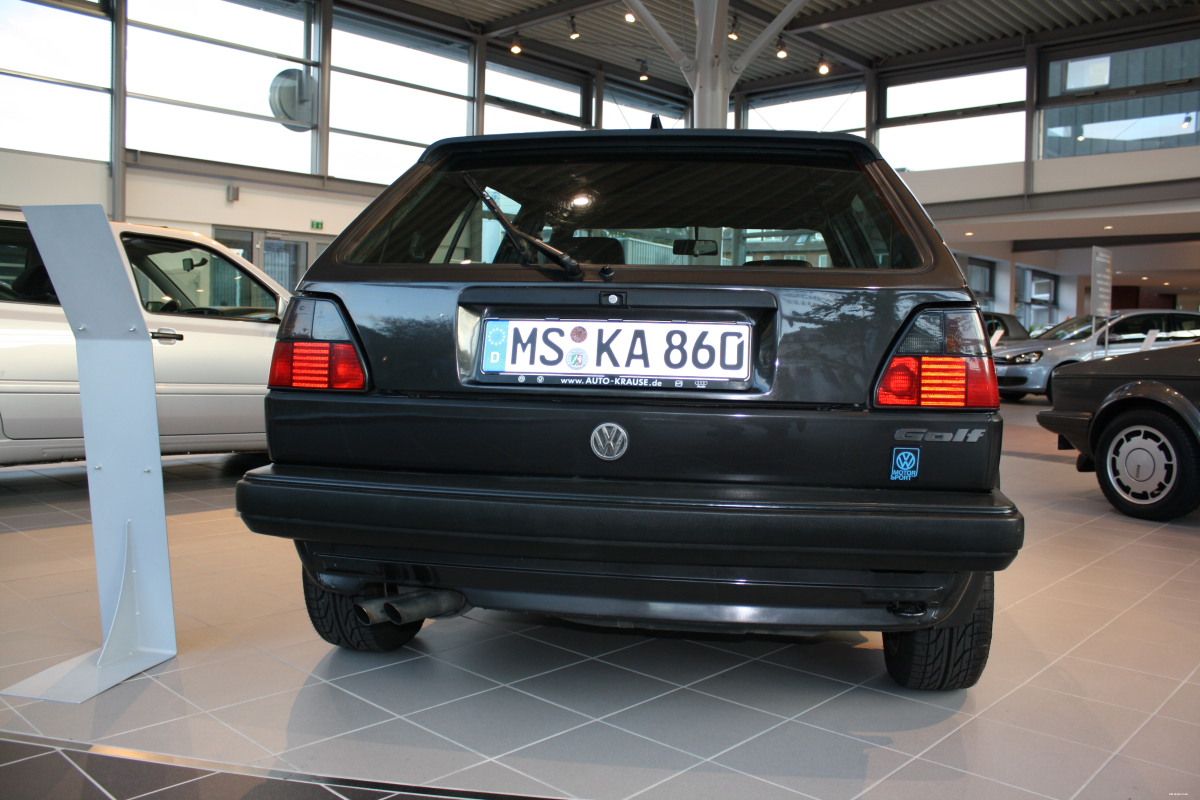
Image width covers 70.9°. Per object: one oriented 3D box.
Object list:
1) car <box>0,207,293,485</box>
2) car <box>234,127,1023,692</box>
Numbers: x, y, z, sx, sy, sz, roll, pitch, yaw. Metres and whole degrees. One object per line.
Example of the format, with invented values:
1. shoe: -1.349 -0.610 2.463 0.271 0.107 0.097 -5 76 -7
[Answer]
1. car: -2.828 -0.461 6.519 3.100 1.332 1.635 -3 4 -38
2. car: 0.321 -0.153 3.547 1.762 1.070 2.597 1 6 11
